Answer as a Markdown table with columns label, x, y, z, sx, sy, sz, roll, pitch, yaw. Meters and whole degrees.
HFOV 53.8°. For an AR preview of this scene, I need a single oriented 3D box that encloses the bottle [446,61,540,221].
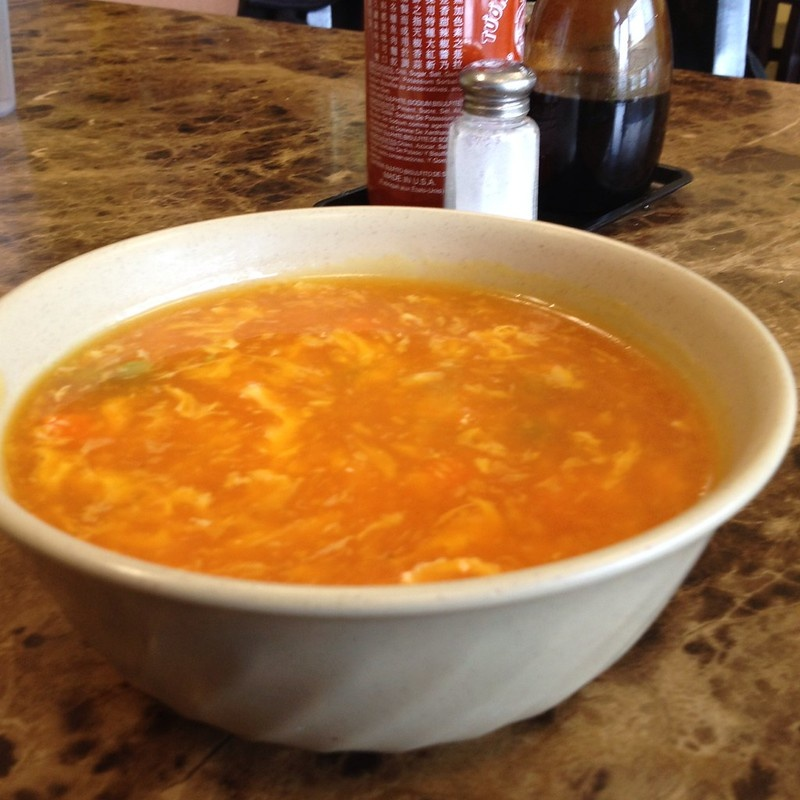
| label | x | y | z | sx | sy | sz | roll | pitch | yaw |
| --- | --- | --- | --- | --- | --- | --- | --- | --- | --- |
| bottle | 0.105 | -0.281 | 0.868 | 0.101 | 0.154 | 0.066 | 4 | 31 | 0 |
